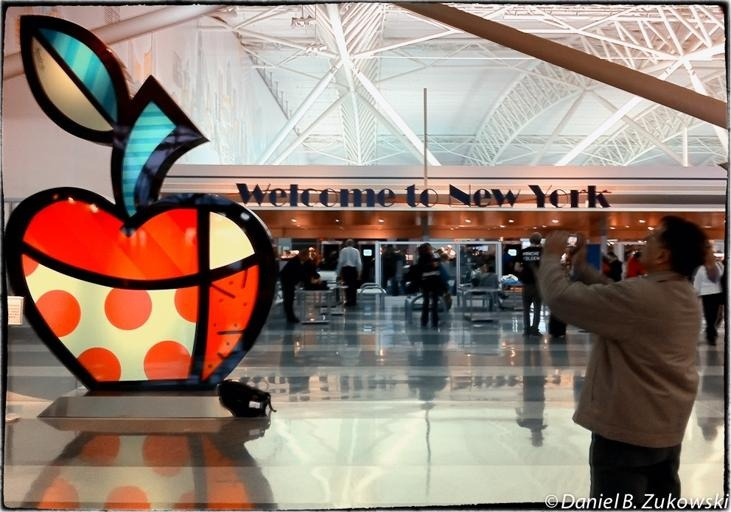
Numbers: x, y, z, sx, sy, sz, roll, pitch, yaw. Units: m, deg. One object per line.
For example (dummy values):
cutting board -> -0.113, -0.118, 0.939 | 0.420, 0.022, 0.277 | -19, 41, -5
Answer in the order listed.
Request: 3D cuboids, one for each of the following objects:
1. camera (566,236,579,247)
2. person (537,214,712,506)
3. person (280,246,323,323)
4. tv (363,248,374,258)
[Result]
camera -> 1.571, -0.112, 4.983 | 0.103, 0.085, 0.025 | 7, 1, 36
person -> 1.955, 0.768, 4.873 | 1.158, 2.092, 0.426 | -1, 10, -6
person -> -1.424, 0.655, 14.229 | 0.863, 1.698, 1.423 | -1, 10, -7
tv -> 0.061, -0.123, 22.122 | 0.314, 0.201, 0.601 | 0, 9, -4
